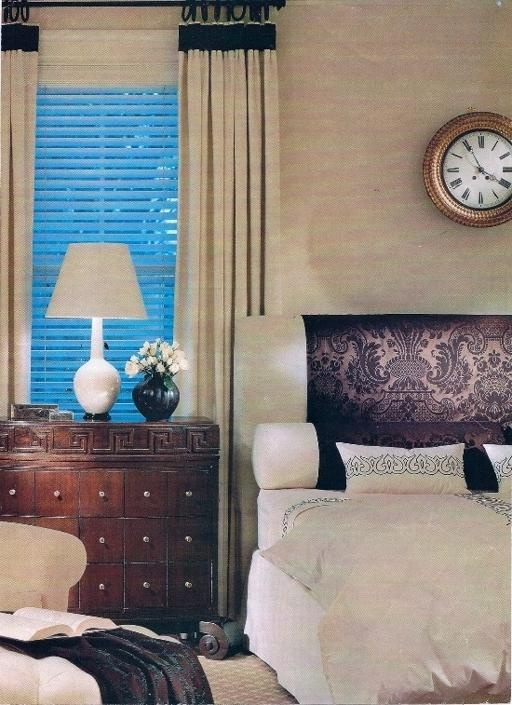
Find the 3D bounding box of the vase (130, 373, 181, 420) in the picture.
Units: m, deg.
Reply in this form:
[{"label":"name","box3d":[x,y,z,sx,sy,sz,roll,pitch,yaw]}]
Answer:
[{"label":"vase","box3d":[-0.295,0.135,2.815,0.163,0.157,0.139,0,-4,-4]}]

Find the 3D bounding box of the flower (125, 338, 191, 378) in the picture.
[{"label":"flower","box3d":[-0.291,0.029,2.833,0.157,0.091,0.150,3,-6,-28]}]

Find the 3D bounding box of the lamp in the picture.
[{"label":"lamp","box3d":[-0.478,-0.066,2.786,0.268,0.534,0.207,-1,6,16]}]
